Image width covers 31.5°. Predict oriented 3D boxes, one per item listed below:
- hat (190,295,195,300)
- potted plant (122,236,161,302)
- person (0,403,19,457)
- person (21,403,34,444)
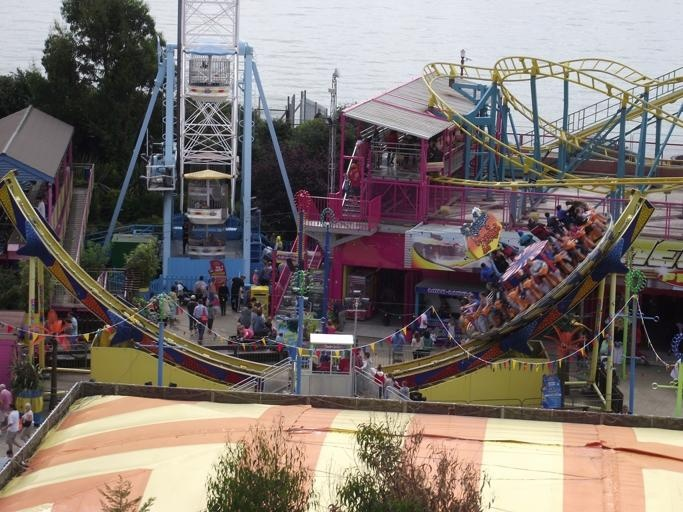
[{"bbox_3d":[-5.848,1.592,47.636,0.157,0.186,0.199,2,12,4],"label":"hat"},{"bbox_3d":[-8.345,0.521,50.515,2.188,3.048,2.128,5,-4,-8],"label":"potted plant"},{"bbox_3d":[-10.079,5.371,36.926,0.443,1.394,1.432,1,1,-17],"label":"person"},{"bbox_3d":[-9.686,5.092,37.342,0.359,1.239,1.430,1,1,-14],"label":"person"}]
